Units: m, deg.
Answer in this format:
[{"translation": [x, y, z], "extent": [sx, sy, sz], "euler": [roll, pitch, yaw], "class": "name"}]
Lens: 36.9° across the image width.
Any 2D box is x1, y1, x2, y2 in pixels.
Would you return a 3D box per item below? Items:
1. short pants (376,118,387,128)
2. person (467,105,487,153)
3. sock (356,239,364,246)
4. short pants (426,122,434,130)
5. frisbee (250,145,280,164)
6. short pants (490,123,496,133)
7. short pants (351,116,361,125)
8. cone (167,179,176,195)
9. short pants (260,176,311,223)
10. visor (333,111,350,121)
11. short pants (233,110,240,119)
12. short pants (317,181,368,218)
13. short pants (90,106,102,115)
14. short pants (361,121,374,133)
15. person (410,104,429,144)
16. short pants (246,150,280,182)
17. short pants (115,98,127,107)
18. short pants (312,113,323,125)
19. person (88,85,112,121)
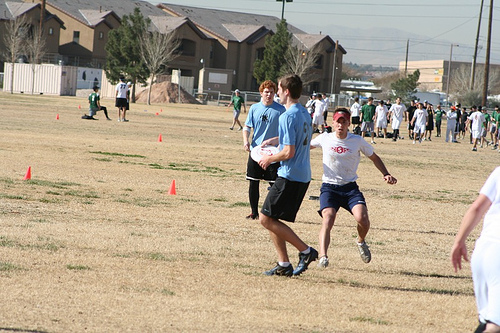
[{"translation": [6.260, -2.063, 35.887], "extent": [0.503, 0.515, 0.304], "euler": [0, -1, 5], "class": "short pants"}, {"translation": [10.167, -1.685, 33.857], "extent": [0.782, 2.058, 0.785], "euler": [5, 1, 37], "class": "person"}, {"translation": [2.005, 1.414, 13.819], "extent": [0.066, 0.105, 0.150], "euler": [-6, 17, -44], "class": "sock"}, {"translation": [9.063, -2.045, 38.222], "extent": [0.287, 0.482, 0.361], "euler": [-8, 18, -31], "class": "short pants"}, {"translation": [0.268, -0.238, 13.841], "extent": [0.491, 0.207, 0.668], "euler": [2, 13, -15], "class": "frisbee"}, {"translation": [11.385, -1.739, 35.225], "extent": [0.245, 0.480, 0.335], "euler": [-3, 10, -17], "class": "short pants"}, {"translation": [4.992, -2.176, 35.660], "extent": [0.288, 0.380, 0.491], "euler": [-5, 11, -31], "class": "short pants"}, {"translation": [-1.865, 0.523, 17.940], "extent": [0.216, 0.312, 0.226], "euler": [19, 20, 36], "class": "cone"}, {"translation": [0.661, 0.642, 13.784], "extent": [0.793, 0.776, 0.445], "euler": [21, 4, -44], "class": "short pants"}, {"translation": [1.669, -0.915, 13.697], "extent": [0.299, 0.194, 0.154], "euler": [6, 12, 2], "class": "visor"}, {"translation": [-0.590, -2.352, 34.349], "extent": [0.290, 0.554, 0.399], "euler": [4, 8, 3], "class": "short pants"}, {"translation": [1.685, 0.639, 13.889], "extent": [0.969, 0.801, 0.556], "euler": [-2, -24, 3], "class": "short pants"}, {"translation": [-7.243, -2.615, 35.400], "extent": [0.607, 0.330, 1.110], "euler": [0, 5, 6], "class": "short pants"}, {"translation": [5.236, -1.787, 33.702], "extent": [0.610, 0.610, 0.369], "euler": [1, -1, 7], "class": "short pants"}, {"translation": [7.747, -1.951, 34.695], "extent": [0.631, 1.954, 1.324], "euler": [7, 12, 11], "class": "person"}, {"translation": [0.218, 0.127, 15.898], "extent": [0.823, 0.816, 0.489], "euler": [1, -3, -8], "class": "short pants"}, {"translation": [-5.712, -2.837, 33.586], "extent": [0.546, 0.409, 0.304], "euler": [-1, 2, -23], "class": "short pants"}, {"translation": [3.116, -2.155, 34.580], "extent": [0.668, 0.678, 0.385], "euler": [1, 2, 8], "class": "short pants"}, {"translation": [-6.941, -2.906, 34.526], "extent": [0.966, 1.650, 1.051], "euler": [10, 12, 42], "class": "person"}]
